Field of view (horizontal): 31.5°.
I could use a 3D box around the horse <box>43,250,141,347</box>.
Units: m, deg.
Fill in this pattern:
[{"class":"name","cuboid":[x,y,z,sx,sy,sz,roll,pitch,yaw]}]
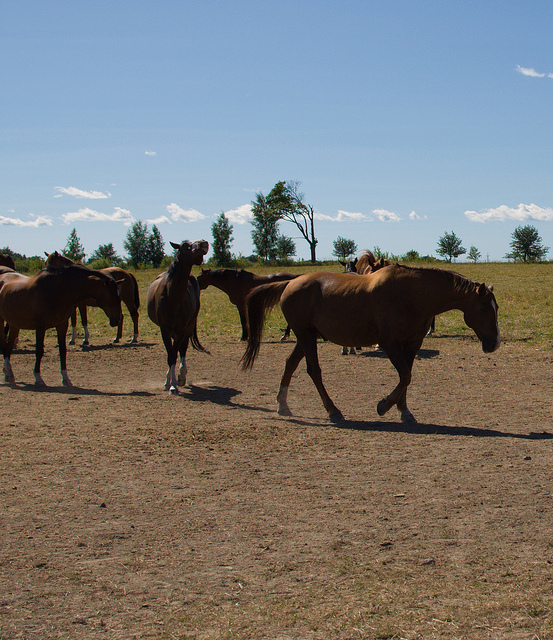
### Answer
[{"class":"horse","cuboid":[-3.931,-0.449,21.009,0.646,2.079,2.757,-3,0,41]}]
